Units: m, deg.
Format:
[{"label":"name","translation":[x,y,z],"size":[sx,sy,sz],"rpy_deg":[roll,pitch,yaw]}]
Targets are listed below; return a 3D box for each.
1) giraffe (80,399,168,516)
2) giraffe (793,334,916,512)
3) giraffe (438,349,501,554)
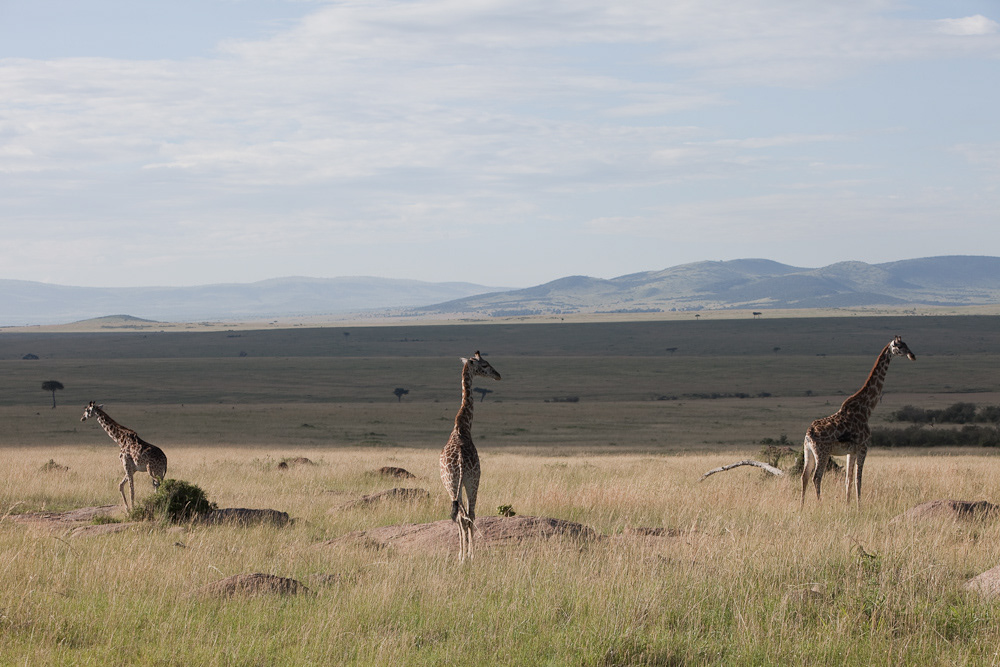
[{"label":"giraffe","translation":[-14.667,4.723,65.709],"size":[2.715,3.801,5.637],"rpy_deg":[-4,6,-17]},{"label":"giraffe","translation":[13.478,3.260,63.941],"size":[3.211,6.322,3.744],"rpy_deg":[3,9,36]},{"label":"giraffe","translation":[-1.220,4.226,59.782],"size":[1.763,6.949,3.691],"rpy_deg":[-2,7,4]}]
